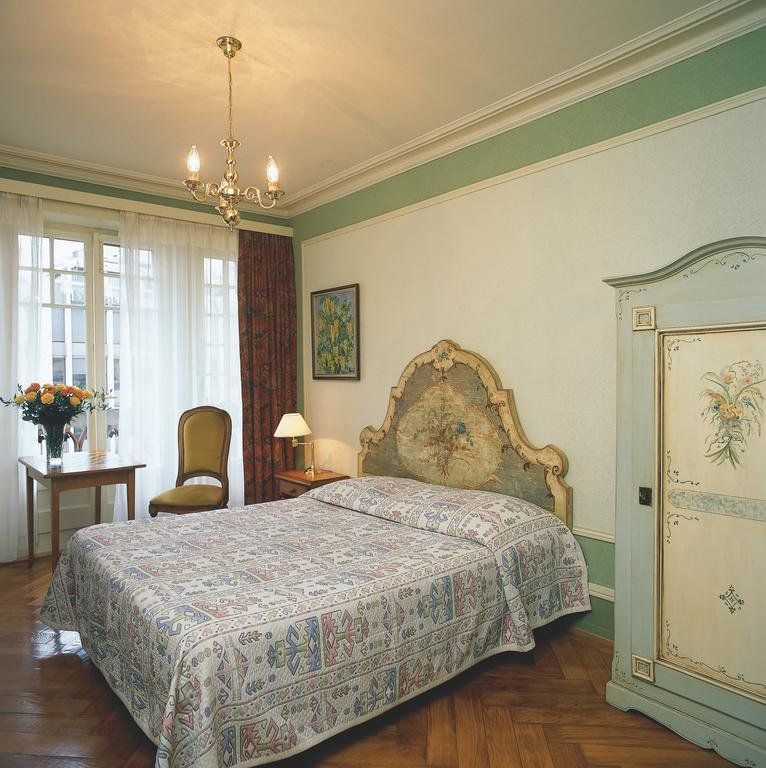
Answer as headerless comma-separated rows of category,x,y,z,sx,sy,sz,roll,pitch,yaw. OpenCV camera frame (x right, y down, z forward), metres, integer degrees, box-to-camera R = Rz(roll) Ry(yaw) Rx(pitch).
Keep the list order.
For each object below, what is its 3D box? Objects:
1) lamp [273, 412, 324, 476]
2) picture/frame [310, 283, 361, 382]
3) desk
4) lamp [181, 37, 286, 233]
lamp,-0.682,0.482,5.011,0.405,0.707,0.365,5,-10,-33
picture/frame,-0.364,-0.412,5.027,0.027,0.901,0.659,1,-2,-36
desk,-2.020,0.676,4.236,0.650,0.973,0.770,-3,8,-44
lamp,-0.759,-1.326,3.299,0.351,0.456,0.899,10,-46,-5
